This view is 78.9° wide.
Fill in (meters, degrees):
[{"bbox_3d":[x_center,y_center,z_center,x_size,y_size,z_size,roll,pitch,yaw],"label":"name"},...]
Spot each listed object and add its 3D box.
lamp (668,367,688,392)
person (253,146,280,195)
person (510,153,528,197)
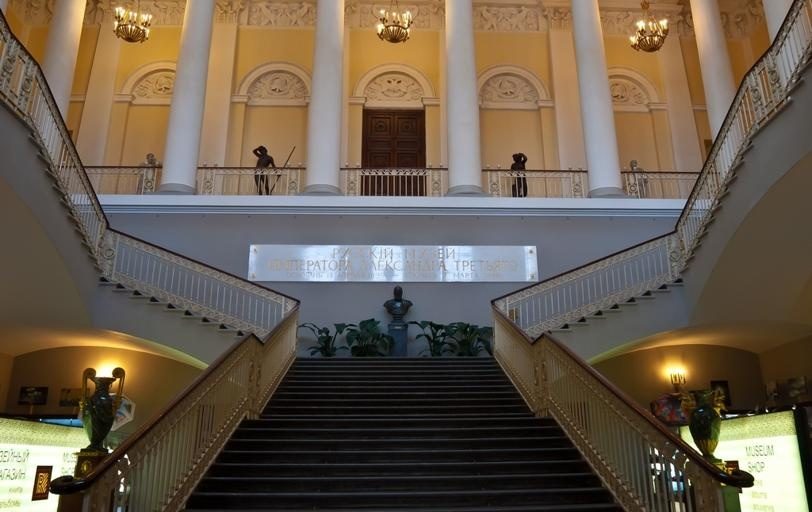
[{"bbox_3d":[6.990,3.178,12.747,0.545,0.766,0.235,2,-15,-4],"label":"lamp"},{"bbox_3d":[-4.047,-2.455,14.151,0.529,1.364,1.983,-1,9,-17],"label":"person"},{"bbox_3d":[3.269,-2.347,14.274,0.459,1.214,1.173,3,8,13],"label":"person"}]
